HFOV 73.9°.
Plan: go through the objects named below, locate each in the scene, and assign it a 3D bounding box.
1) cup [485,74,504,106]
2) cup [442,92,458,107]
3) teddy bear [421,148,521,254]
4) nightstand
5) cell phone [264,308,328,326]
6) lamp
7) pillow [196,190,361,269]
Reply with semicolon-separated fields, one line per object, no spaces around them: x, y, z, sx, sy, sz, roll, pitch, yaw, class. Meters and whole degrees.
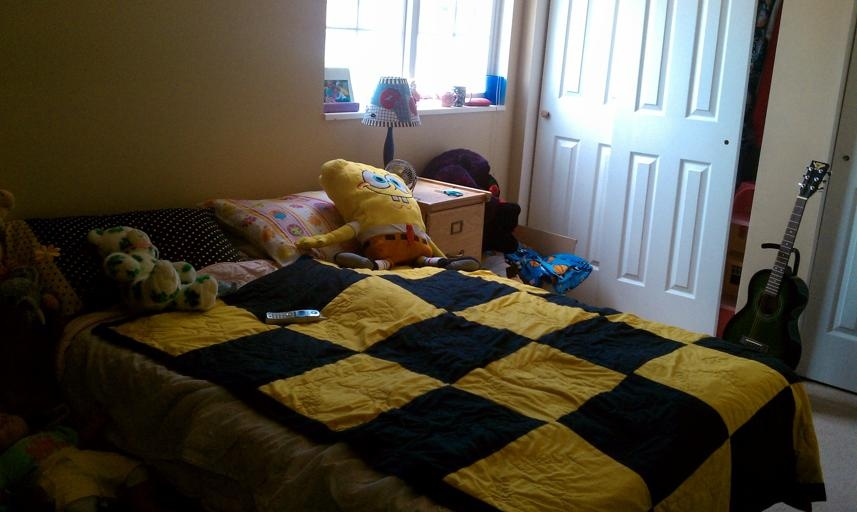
0.539;-1.337;4.602;0.170;0.218;0.084;3;23;9;cup
0.159;-1.191;4.340;0.147;0.117;0.082;-3;10;-30;cup
0.241;-0.477;4.506;0.882;0.805;0.644;3;13;-1;teddy bear
0.090;-0.270;3.963;0.386;0.560;0.614;-21;32;-40;nightstand
-0.618;0.288;2.633;0.231;0.056;0.047;-2;29;-14;cell phone
-0.280;-0.901;3.805;0.360;0.575;0.390;-9;24;-17;lamp
-0.831;-0.103;3.253;0.507;0.133;0.507;2;32;-44;pillow
